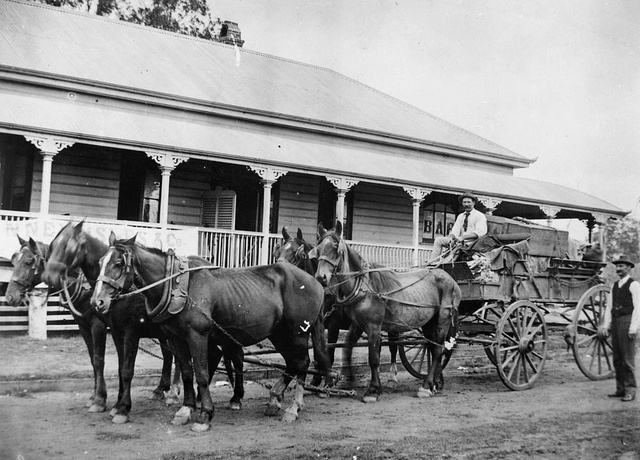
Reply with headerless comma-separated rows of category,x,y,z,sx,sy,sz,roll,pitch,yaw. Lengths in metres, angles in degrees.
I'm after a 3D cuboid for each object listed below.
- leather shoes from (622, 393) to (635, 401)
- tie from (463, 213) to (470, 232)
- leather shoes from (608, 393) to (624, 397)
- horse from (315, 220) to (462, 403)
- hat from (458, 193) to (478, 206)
leather shoes,6.241,3.409,16.313,0.111,0.136,0.315,-12,-12,41
tie,3.332,-0.133,18.388,0.172,0.328,0.291,6,-3,5
leather shoes,6.067,3.418,16.572,0.265,0.104,0.141,0,-3,7
horse,1.429,2.092,17.052,4.116,3.154,1.331,9,-8,-32
hat,3.628,-0.721,19.704,0.375,0.159,0.429,3,-32,6
